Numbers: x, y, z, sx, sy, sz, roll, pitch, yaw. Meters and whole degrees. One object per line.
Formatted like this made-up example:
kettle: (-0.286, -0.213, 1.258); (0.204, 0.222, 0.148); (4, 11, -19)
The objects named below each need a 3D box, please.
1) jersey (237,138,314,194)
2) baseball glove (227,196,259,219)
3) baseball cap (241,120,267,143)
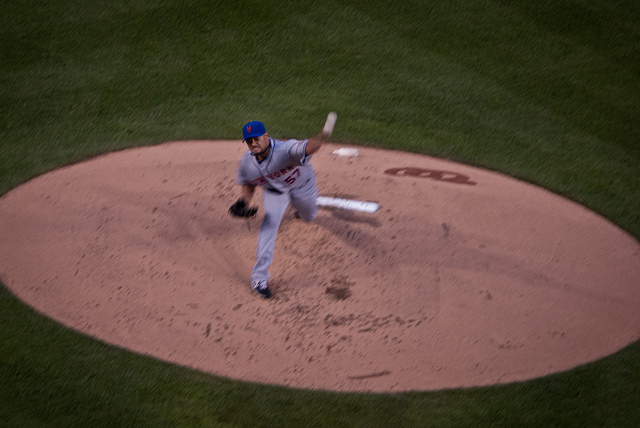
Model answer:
jersey: (-0.598, -0.695, 11.164); (0.996, 0.656, 0.977); (15, -12, -1)
baseball glove: (-1.098, -0.051, 11.445); (0.507, 0.235, 0.457); (-10, -9, -6)
baseball cap: (-0.877, -1.135, 11.021); (0.257, 0.175, 0.329); (-7, 15, 17)
